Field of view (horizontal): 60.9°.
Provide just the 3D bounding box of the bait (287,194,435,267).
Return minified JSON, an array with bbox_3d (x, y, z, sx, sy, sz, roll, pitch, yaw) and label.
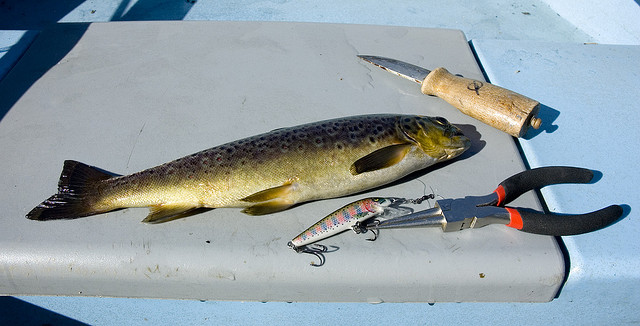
[{"bbox_3d":[0.430,0.515,4.909,1.513,0.360,0.252,-19,114,-21],"label":"bait"}]
